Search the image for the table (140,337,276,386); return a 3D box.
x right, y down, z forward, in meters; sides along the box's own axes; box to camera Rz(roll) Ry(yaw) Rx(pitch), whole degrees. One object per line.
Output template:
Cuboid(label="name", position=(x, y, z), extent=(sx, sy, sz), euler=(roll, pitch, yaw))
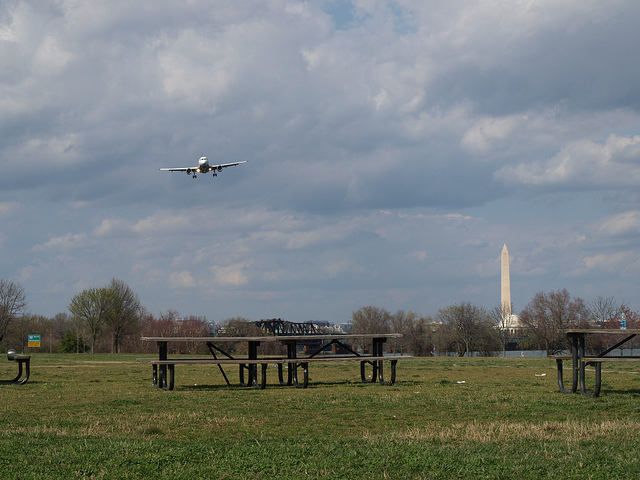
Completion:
Cuboid(label="table", position=(-4.680, 4.872, 44.434), extent=(4.582, 2.160, 5.836), euler=(-1, -1, -8))
